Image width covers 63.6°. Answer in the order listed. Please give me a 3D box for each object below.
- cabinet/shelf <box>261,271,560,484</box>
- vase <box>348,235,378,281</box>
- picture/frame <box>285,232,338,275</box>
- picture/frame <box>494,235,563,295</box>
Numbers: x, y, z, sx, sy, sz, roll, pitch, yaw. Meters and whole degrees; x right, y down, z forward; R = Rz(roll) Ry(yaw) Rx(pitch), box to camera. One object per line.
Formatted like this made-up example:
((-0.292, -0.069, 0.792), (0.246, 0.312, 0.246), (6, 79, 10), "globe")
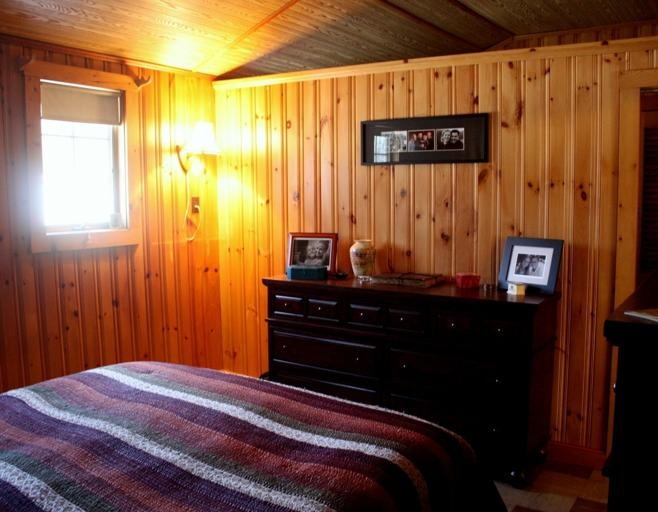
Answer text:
((0.490, 0.713, 3.623), (1.797, 1.092, 0.640), (4, 6, 28), "cabinet/shelf")
((0.234, 0.009, 3.762), (0.204, 0.241, 0.200), (-3, 7, -21), "vase")
((-0.123, -0.018, 3.962), (0.334, 0.270, 0.023), (1, -9, 23), "picture/frame")
((1.240, 0.061, 3.254), (0.345, 0.381, 0.026), (9, -10, 39), "picture/frame")
